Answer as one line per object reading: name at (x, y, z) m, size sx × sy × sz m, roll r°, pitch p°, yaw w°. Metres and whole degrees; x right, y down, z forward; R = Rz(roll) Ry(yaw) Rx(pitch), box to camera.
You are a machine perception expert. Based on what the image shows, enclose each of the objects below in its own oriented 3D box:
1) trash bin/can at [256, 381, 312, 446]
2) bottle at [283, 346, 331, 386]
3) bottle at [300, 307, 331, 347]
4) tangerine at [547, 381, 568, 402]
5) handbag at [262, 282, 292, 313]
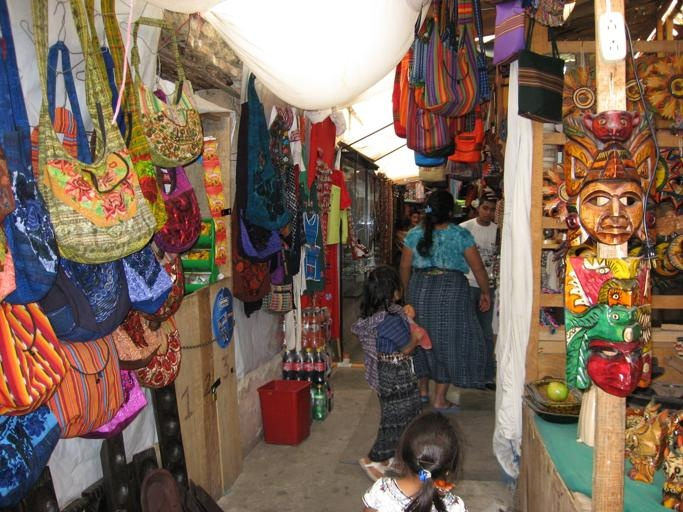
trash bin/can at (-0.421, 1.225, 4.811) m, size 0.410 × 0.554 × 0.446 m, roll 0°, pitch 5°, yaw 11°
bottle at (-0.323, 0.973, 5.178) m, size 0.369 × 0.299 × 0.219 m, roll -3°, pitch 6°, yaw -20°
bottle at (-0.221, 0.651, 5.402) m, size 0.235 × 0.348 × 0.339 m, roll 1°, pitch 2°, yaw 8°
tangerine at (1.193, 0.730, 3.259) m, size 0.098 × 0.090 × 0.107 m, roll 7°, pitch 40°, yaw 40°
handbag at (-0.495, 0.344, 4.644) m, size 0.292 × 0.304 × 0.169 m, roll 4°, pitch -6°, yaw -32°
